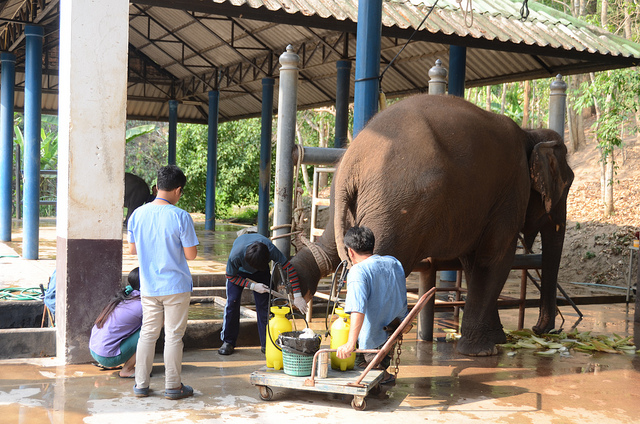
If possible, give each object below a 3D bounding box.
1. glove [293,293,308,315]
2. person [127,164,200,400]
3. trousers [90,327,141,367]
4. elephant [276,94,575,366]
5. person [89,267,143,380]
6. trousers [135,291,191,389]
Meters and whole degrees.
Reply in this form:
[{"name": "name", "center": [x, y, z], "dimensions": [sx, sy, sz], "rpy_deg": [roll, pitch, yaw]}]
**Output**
[{"name": "glove", "center": [-0.301, 1.362, 11.778], "dimensions": [0.206, 0.279, 0.281], "rpy_deg": [1, 11, -5]}, {"name": "person", "center": [-2.130, 0.941, 10.917], "dimensions": [0.969, 3.118, 0.868], "rpy_deg": [3, 6, 7]}, {"name": "trousers", "center": [-2.840, 1.958, 11.125], "dimensions": [0.734, 0.318, 0.444], "rpy_deg": [-34, -43, 8]}, {"name": "elephant", "center": [2.116, 0.224, 12.908], "dimensions": [4.954, 4.274, 2.023], "rpy_deg": [1, 14, -25]}, {"name": "person", "center": [-2.818, 1.601, 11.357], "dimensions": [0.692, 1.512, 0.872], "rpy_deg": [3, -3, 36]}, {"name": "trousers", "center": [-2.132, 1.731, 10.642], "dimensions": [0.729, 1.343, 0.453], "rpy_deg": [0, 11, -9]}]
